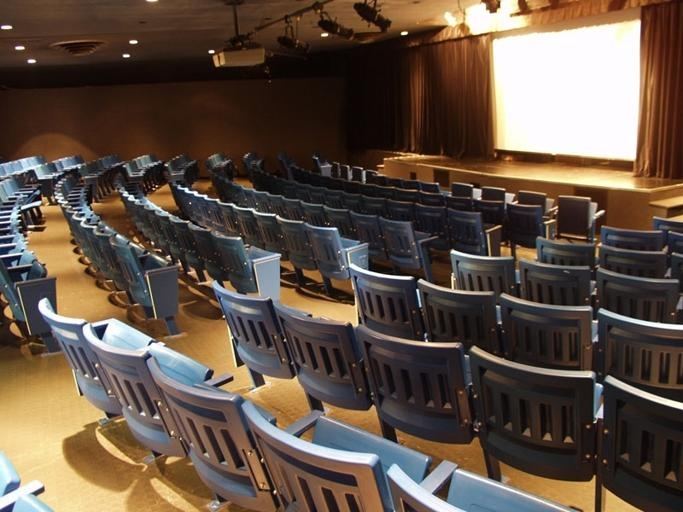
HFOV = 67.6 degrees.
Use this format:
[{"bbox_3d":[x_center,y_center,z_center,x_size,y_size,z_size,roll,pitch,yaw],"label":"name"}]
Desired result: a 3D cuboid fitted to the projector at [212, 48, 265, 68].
[{"bbox_3d":[-1.961,-3.649,9.596,0.984,0.334,0.907,-12,22,-24],"label":"projector"}]
